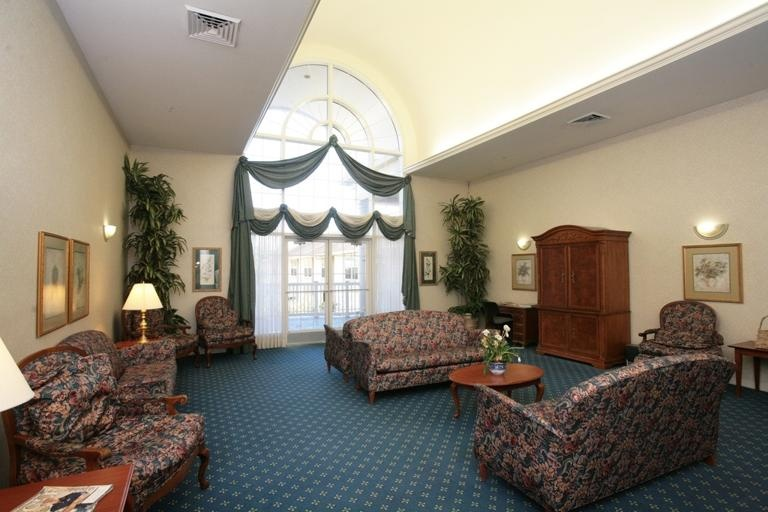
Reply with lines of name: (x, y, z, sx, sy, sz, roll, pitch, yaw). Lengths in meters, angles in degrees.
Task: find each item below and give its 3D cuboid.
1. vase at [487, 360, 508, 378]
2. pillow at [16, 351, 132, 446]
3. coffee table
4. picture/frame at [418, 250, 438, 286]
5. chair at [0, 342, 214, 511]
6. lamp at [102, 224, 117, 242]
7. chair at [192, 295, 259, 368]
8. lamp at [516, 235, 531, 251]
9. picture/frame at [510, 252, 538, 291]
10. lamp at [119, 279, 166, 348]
vase: (1.527, 1.494, 6.546, 0.208, 0.155, 0.215, -8, -11, 37)
pillow: (-3.105, 1.399, 4.875, 0.222, 0.773, 0.689, -18, -6, 24)
coffee table: (1.496, 1.624, 6.664, 0.920, 0.438, 0.874, 0, -5, -19)
picture/frame: (1.088, 0.271, 11.922, 0.481, 0.804, 0.045, -1, -3, -27)
chair: (-2.874, 1.603, 5.228, 1.720, 1.664, 1.318, -3, -3, 20)
lamp: (-4.380, -0.392, 7.721, 0.231, 0.314, 0.212, 0, 1, 8)
chair: (-2.949, 1.481, 9.851, 1.224, 1.568, 1.156, 3, -8, -40)
lamp: (3.132, -0.298, 10.889, 0.086, 0.330, 0.394, -1, -4, -29)
picture/frame: (3.125, 0.329, 10.809, 0.069, 1.066, 0.797, -2, 2, -31)
lamp: (-3.711, 0.749, 7.549, 0.495, 0.762, 0.487, 0, 21, -27)
